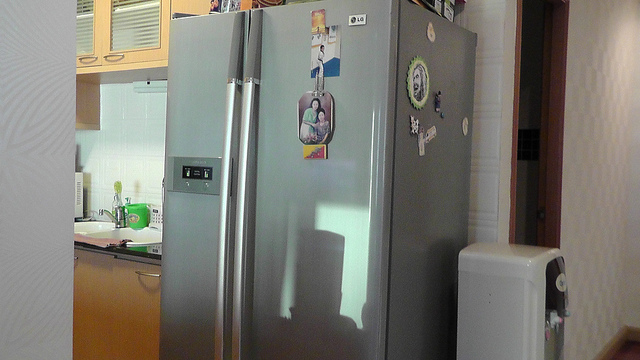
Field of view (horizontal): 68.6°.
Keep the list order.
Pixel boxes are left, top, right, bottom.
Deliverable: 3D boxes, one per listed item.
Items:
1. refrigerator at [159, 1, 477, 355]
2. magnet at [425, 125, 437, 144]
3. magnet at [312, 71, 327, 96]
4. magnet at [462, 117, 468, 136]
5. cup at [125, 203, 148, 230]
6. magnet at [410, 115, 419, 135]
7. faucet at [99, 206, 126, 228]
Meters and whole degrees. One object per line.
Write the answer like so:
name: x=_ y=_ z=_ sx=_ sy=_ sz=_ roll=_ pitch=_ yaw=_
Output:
refrigerator: x=-0.040 y=0.034 z=2.446 sx=1.677 sy=1.801 sz=0.559 roll=-1 pitch=-3 yaw=9
magnet: x=0.557 y=-0.227 z=2.356 sx=0.022 sy=0.086 sz=0.051 roll=-10 pitch=-35 yaw=39
magnet: x=-0.005 y=-0.453 z=2.231 sx=0.064 sy=0.108 sz=0.011 roll=-1 pitch=-3 yaw=23
magnet: x=0.795 y=-0.296 z=2.579 sx=0.017 sy=0.076 sz=0.072 roll=4 pitch=-6 yaw=22
cup: x=-1.388 y=0.292 z=3.628 sx=0.207 sy=0.196 sz=0.174 roll=0 pitch=-2 yaw=19
magnet: x=0.453 y=-0.264 z=2.263 sx=0.015 sy=0.092 sz=0.069 roll=-3 pitch=-3 yaw=40
faucet: x=-1.611 y=0.287 z=3.653 sx=0.246 sy=0.166 sz=0.069 roll=-1 pitch=-3 yaw=21
